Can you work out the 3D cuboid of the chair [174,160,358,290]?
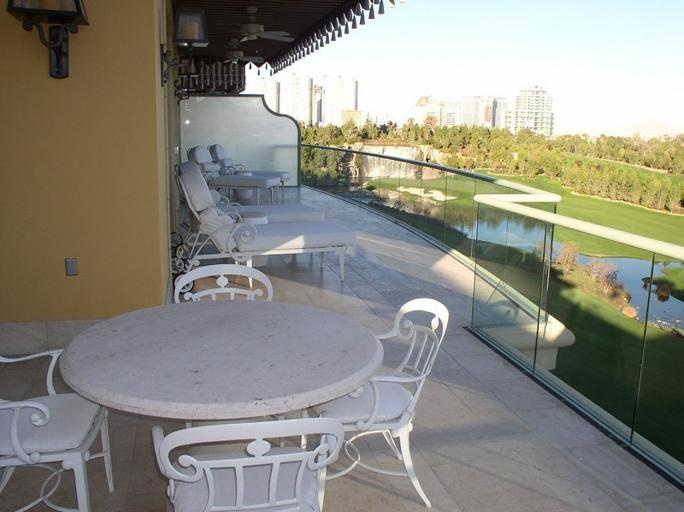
[{"bbox_3d":[-0.907,-0.313,6.022,1.863,1.326,1.243,-4,1,-14],"label":"chair"}]

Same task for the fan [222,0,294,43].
[{"bbox_3d":[-1.519,-3.980,8.718,1.027,0.450,1.082,-14,24,-43],"label":"fan"}]

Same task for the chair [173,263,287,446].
[{"bbox_3d":[-0.804,0.401,3.479,0.711,0.852,0.593,-1,13,-11],"label":"chair"}]
